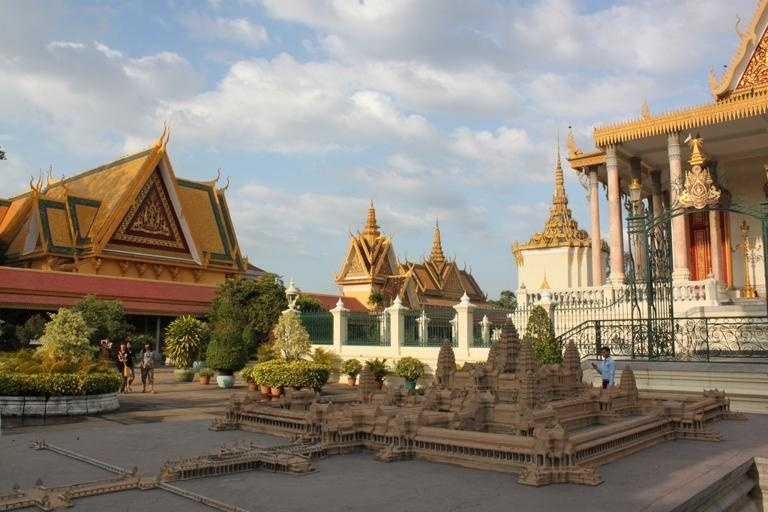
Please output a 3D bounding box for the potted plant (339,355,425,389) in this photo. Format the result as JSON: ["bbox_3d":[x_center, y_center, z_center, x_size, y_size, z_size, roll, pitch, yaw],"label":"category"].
[{"bbox_3d":[-0.033,3.751,21.239,2.709,0.984,1.279,-8,-15,41],"label":"potted plant"}]

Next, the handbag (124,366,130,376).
[{"bbox_3d":[-7.560,3.394,19.200,0.284,0.305,0.141,-6,-14,36],"label":"handbag"}]

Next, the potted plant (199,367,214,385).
[{"bbox_3d":[-5.916,4.011,21.716,0.584,0.579,0.528,1,-10,-2],"label":"potted plant"}]

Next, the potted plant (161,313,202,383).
[{"bbox_3d":[-7.146,3.238,23.307,2.096,2.632,1.930,3,-8,-23],"label":"potted plant"}]
